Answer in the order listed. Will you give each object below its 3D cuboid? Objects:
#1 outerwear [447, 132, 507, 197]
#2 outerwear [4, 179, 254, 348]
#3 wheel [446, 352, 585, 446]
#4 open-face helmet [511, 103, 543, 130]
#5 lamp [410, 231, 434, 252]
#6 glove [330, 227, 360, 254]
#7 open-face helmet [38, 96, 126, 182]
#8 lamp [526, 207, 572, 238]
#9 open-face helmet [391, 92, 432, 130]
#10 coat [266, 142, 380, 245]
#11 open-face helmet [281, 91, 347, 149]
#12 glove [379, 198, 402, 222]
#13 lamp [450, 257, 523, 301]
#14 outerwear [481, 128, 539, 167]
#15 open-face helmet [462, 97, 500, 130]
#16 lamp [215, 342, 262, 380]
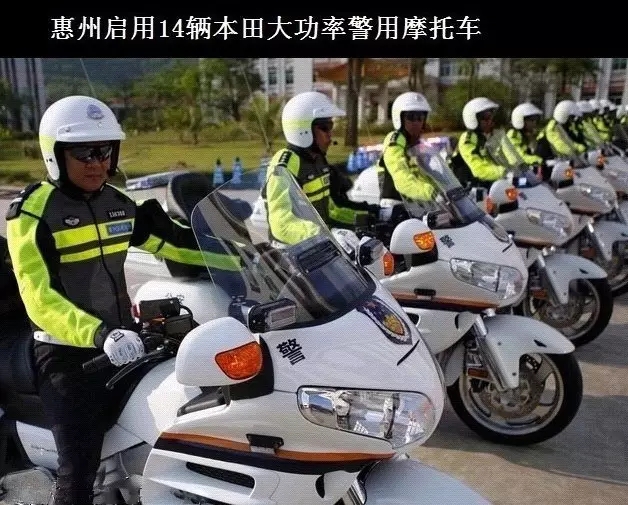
[{"bbox_3d":[1.656,-0.936,6.517,0.471,0.637,0.285,-13,-5,-4],"label":"outerwear"},{"bbox_3d":[-0.929,0.071,3.155,0.418,0.476,0.752,-12,19,29],"label":"outerwear"},{"bbox_3d":[1.377,1.018,4.458,0.640,0.680,0.193,4,11,11],"label":"wheel"},{"bbox_3d":[2.793,-1.823,8.458,0.388,0.322,0.305,-1,20,17],"label":"open-face helmet"},{"bbox_3d":[0.732,-0.076,4.277,0.109,0.060,0.151,-3,-9,-7],"label":"lamp"},{"bbox_3d":[0.179,-0.070,3.717,0.097,0.139,0.193,-30,-4,4],"label":"glove"},{"bbox_3d":[-1.203,-0.608,3.282,0.464,0.397,0.343,20,24,40],"label":"open-face helmet"},{"bbox_3d":[2.112,-0.285,5.841,0.389,0.210,0.139,22,3,-8],"label":"lamp"},{"bbox_3d":[0.936,-1.352,6.056,0.307,0.340,0.415,-6,17,-21],"label":"open-face helmet"},{"bbox_3d":[0.093,-0.436,5.017,0.771,0.893,0.861,-15,14,-21],"label":"coat"},{"bbox_3d":[0.024,-1.082,5.024,0.510,0.406,0.410,-2,27,9],"label":"open-face helmet"},{"bbox_3d":[0.611,-0.358,5.190,0.200,0.204,0.148,4,1,-23],"label":"glove"},{"bbox_3d":[1.172,0.193,4.374,0.410,0.184,0.258,25,48,13],"label":"lamp"},{"bbox_3d":[1.883,-1.009,6.175,0.290,0.230,0.498,10,-9,16],"label":"outerwear"},{"bbox_3d":[1.835,-1.602,7.182,0.434,0.359,0.336,-5,19,24],"label":"open-face helmet"},{"bbox_3d":[-0.288,0.412,2.392,0.160,0.124,0.078,1,-5,-8],"label":"lamp"}]
